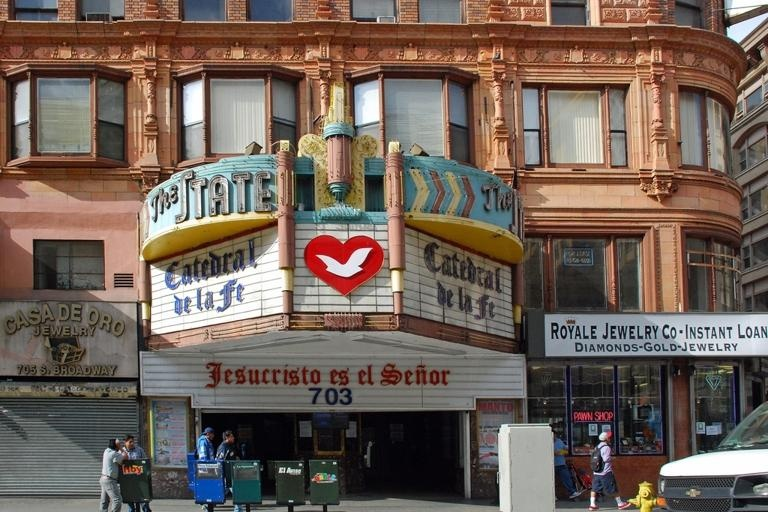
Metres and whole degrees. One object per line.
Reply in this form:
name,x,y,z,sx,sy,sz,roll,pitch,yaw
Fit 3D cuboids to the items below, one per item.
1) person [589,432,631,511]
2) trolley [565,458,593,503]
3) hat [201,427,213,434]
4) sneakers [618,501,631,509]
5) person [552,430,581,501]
person,7.682,7.595,57.240,1.257,2.722,1.133,-2,-12,5
trolley,7.354,8.078,59.277,1.479,1.330,0.856,-6,-8,4
hat,-5.899,6.003,55.605,0.372,0.145,0.519,2,-8,-11
sneakers,8.294,8.747,56.710,0.604,0.232,0.209,-8,1,-14
person,6.523,7.453,58.405,0.890,2.557,1.339,-3,-12,6
